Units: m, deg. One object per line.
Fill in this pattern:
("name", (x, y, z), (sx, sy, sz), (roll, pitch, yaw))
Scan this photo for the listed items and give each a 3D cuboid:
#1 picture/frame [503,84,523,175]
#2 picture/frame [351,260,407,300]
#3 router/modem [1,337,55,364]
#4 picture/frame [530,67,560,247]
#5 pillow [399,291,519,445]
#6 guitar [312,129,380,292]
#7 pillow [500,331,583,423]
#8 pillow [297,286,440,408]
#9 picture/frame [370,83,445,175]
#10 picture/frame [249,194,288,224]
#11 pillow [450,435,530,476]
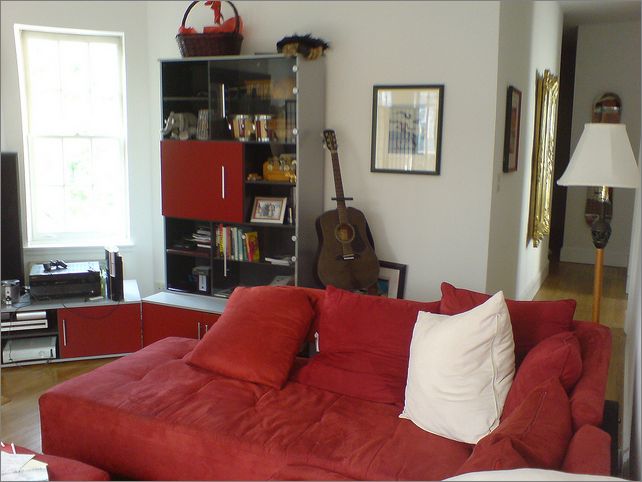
("picture/frame", (1.582, -0.947, 4.698), (0.059, 0.907, 0.760), (1, 4, 22))
("picture/frame", (0.446, 0.311, 4.453), (0.280, 0.293, 0.048), (4, 10, 16))
("router/modem", (-2.388, 0.890, 4.632), (0.236, 0.058, 0.238), (-2, 8, -14))
("picture/frame", (2.461, -0.978, 6.260), (0.154, 2.167, 1.853), (2, 8, 23))
("pillow", (0.716, 0.682, 2.916), (0.335, 0.569, 0.600), (36, -11, -27))
("guitar", (0.221, -0.216, 4.498), (0.523, 1.321, 0.393), (1, 8, 1))
("pillow", (1.078, 0.616, 2.737), (0.153, 0.402, 0.391), (22, 4, 21))
("pillow", (0.265, 0.638, 3.343), (0.656, 0.660, 0.200), (10, -7, 29))
("picture/frame", (0.706, -0.907, 4.477), (0.655, 0.819, 0.052), (4, 8, 19))
("picture/frame", (-0.432, -0.252, 4.675), (0.221, 0.196, 0.018), (8, -12, 17))
("pillow", (0.642, 0.833, 2.161), (0.173, 0.071, 0.177), (-12, 4, 13))
